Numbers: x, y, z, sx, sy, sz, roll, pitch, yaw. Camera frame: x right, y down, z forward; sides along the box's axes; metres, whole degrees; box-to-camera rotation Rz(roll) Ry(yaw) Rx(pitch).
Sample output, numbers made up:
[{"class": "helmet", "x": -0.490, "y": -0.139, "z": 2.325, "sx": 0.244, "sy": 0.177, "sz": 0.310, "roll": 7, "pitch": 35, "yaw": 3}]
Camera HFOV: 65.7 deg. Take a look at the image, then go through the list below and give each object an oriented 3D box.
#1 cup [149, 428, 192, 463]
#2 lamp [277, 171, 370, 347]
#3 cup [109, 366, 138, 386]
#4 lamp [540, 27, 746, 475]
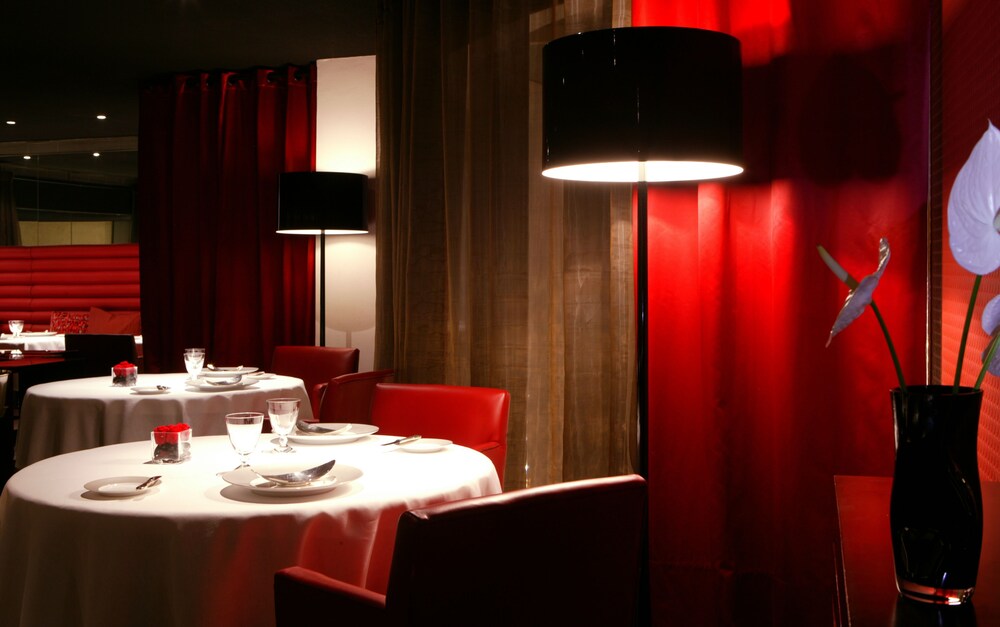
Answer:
[{"class": "cup", "x": -1.225, "y": 0.476, "z": 2.873, "sx": 0.125, "sy": 0.135, "sz": 0.125, "roll": 0, "pitch": 1, "yaw": 0}, {"class": "lamp", "x": -1.304, "y": -0.417, "z": 5.746, "sx": 0.677, "sy": 1.200, "sz": 0.562, "roll": 1, "pitch": 0, "yaw": -12}, {"class": "cup", "x": -2.045, "y": 0.333, "z": 4.221, "sx": 0.102, "sy": 0.076, "sz": 0.105, "roll": 2, "pitch": 1, "yaw": 0}, {"class": "lamp", "x": 0.572, "y": -0.211, "z": 3.127, "sx": 0.819, "sy": 1.716, "sz": 0.480, "roll": 1, "pitch": 0, "yaw": 0}]
